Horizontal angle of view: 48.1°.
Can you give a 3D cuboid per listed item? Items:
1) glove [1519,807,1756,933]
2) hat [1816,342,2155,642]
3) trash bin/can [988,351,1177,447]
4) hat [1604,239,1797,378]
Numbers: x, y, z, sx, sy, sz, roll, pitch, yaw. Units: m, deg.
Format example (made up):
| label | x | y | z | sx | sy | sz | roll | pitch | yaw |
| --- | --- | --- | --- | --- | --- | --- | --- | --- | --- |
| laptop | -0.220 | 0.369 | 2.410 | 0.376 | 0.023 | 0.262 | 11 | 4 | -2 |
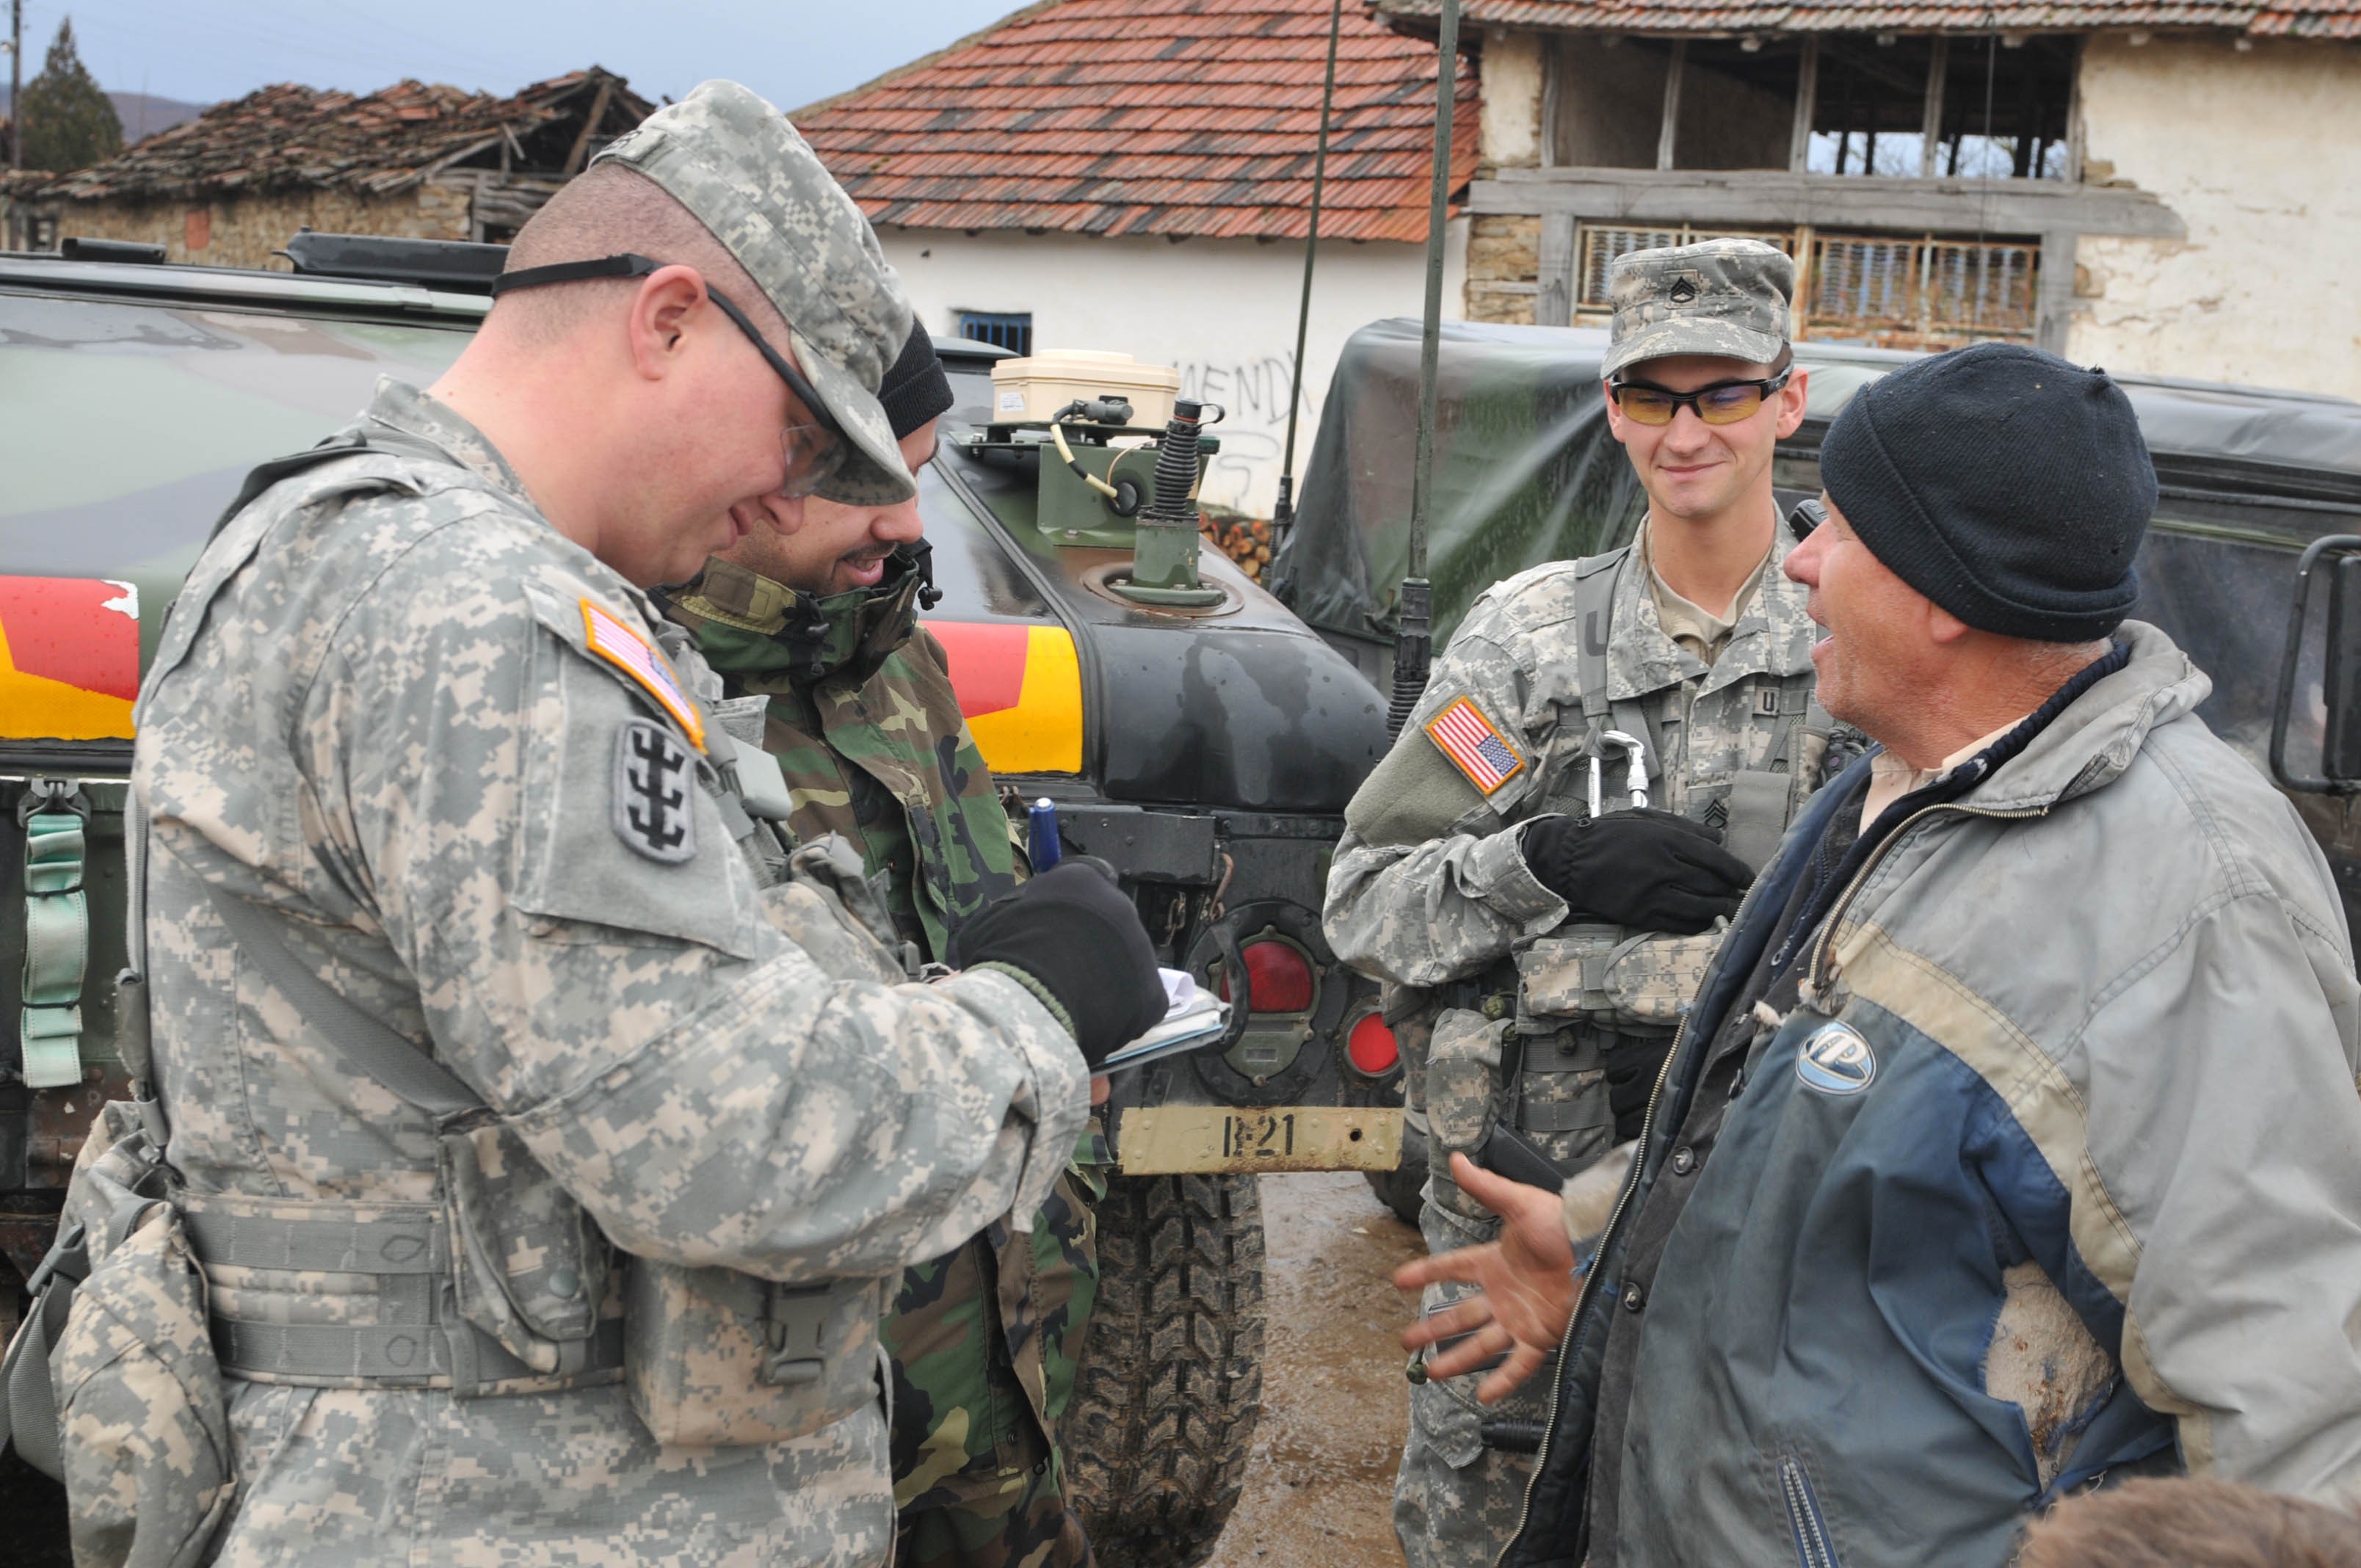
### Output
| label | x | y | z | sx | sy | sz | roll | pitch | yaw |
| --- | --- | --- | --- | --- | --- | --- | --- | --- | --- |
| glove | 0.689 | 0.126 | 3.986 | 0.259 | 0.094 | 0.191 | 4 | 37 | 0 |
| hat | 1.068 | -0.403 | 3.411 | 0.437 | 0.307 | 0.420 | 31 | 29 | 29 |
| trash bin/can | -0.177 | -0.779 | 5.245 | 0.246 | 0.111 | 0.248 | 4 | 6 | 28 |
| hat | 0.861 | -0.787 | 4.446 | 0.337 | 0.232 | 0.436 | -5 | 3 | 14 |
